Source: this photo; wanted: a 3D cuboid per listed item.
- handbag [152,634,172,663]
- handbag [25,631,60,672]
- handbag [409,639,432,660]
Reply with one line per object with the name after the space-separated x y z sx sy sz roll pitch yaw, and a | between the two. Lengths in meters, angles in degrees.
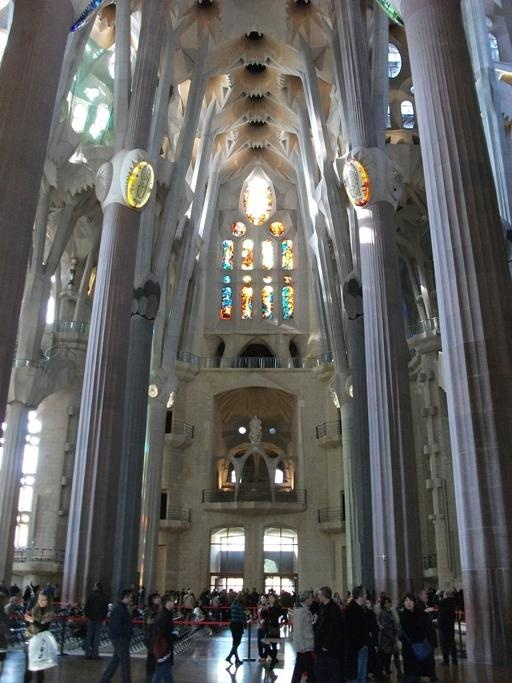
-0.623 2.063 3.384 0.069 0.172 0.155 -9 -46 8 | handbag
-1.271 1.857 3.011 0.165 0.198 0.261 10 -25 -21 | handbag
1.101 2.009 3.271 0.109 0.121 0.217 -19 -31 39 | handbag
